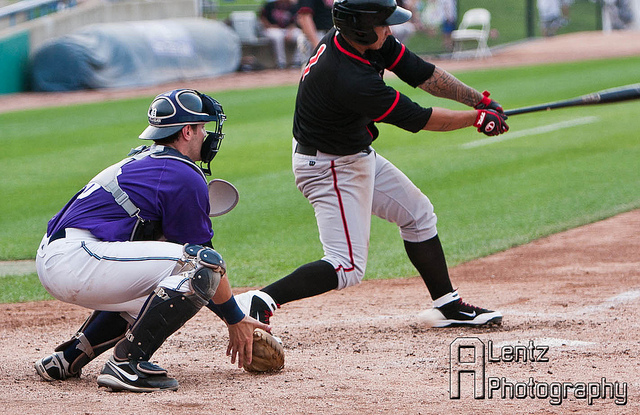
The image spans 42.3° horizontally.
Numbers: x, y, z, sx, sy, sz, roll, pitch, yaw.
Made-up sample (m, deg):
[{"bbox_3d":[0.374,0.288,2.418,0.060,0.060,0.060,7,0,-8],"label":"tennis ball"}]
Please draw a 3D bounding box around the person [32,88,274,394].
[{"bbox_3d":[-1.145,0.226,5.362,1.436,1.897,0.578,-7,12,-5],"label":"person"}]

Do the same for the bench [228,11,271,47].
[{"bbox_3d":[-1.550,-3.944,18.437,0.637,0.703,1.005,-26,55,-15],"label":"bench"}]

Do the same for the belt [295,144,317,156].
[{"bbox_3d":[-0.094,-0.396,5.817,0.101,0.059,0.095,7,6,-31],"label":"belt"}]

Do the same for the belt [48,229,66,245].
[{"bbox_3d":[-1.680,0.183,5.329,0.123,0.079,0.036,-2,13,17],"label":"belt"}]

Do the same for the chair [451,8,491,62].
[{"bbox_3d":[3.526,-4.076,19.359,0.873,1.228,3.721,-3,10,11],"label":"chair"}]
